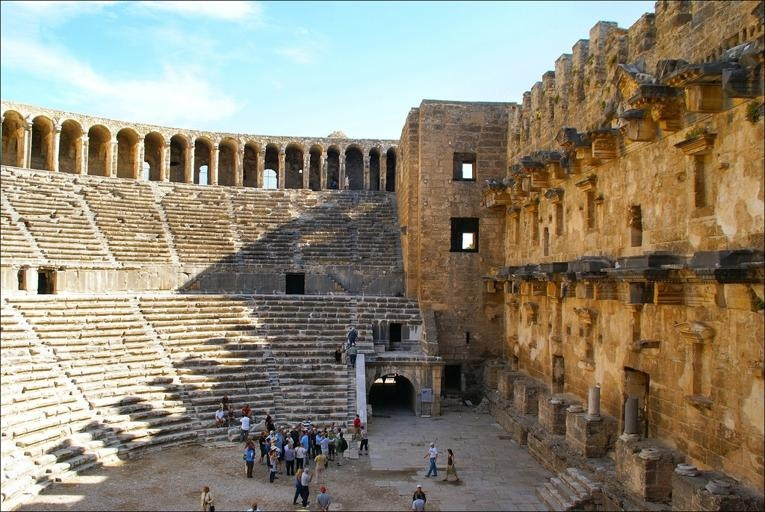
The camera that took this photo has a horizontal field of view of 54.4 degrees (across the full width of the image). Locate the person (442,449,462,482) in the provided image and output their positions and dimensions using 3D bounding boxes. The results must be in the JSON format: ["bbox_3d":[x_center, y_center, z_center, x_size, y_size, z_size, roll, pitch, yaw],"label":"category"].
[{"bbox_3d":[2.404,7.078,26.070,0.537,1.130,1.884,-2,-1,5],"label":"person"}]

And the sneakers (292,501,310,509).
[{"bbox_3d":[-2.592,7.852,23.524,0.580,0.169,0.243,-3,-9,29],"label":"sneakers"}]

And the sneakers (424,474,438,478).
[{"bbox_3d":[1.672,7.518,25.597,0.380,0.116,0.157,10,-32,-16],"label":"sneakers"}]

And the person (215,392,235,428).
[{"bbox_3d":[-6.139,5.946,28.720,0.857,1.233,0.767,4,-29,-16],"label":"person"}]
